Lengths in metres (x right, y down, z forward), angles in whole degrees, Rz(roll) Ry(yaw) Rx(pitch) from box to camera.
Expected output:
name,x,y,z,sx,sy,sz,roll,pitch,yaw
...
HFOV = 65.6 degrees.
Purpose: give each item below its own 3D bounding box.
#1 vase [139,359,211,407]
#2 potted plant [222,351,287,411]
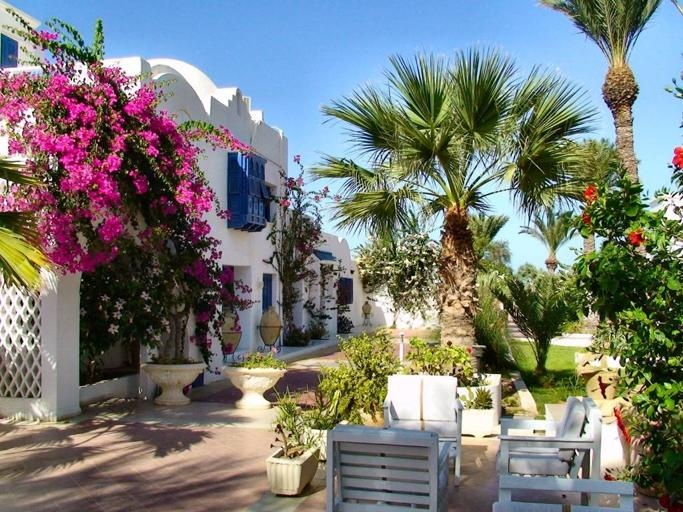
name,x,y,z,sx,sy,sz,roll,pitch,yaw
vase,-3.172,2.376,10.331,0.782,0.549,0.870,-2,-12,16
potted plant,-1.583,2.343,10.289,0.950,0.869,1.077,-1,-13,6
